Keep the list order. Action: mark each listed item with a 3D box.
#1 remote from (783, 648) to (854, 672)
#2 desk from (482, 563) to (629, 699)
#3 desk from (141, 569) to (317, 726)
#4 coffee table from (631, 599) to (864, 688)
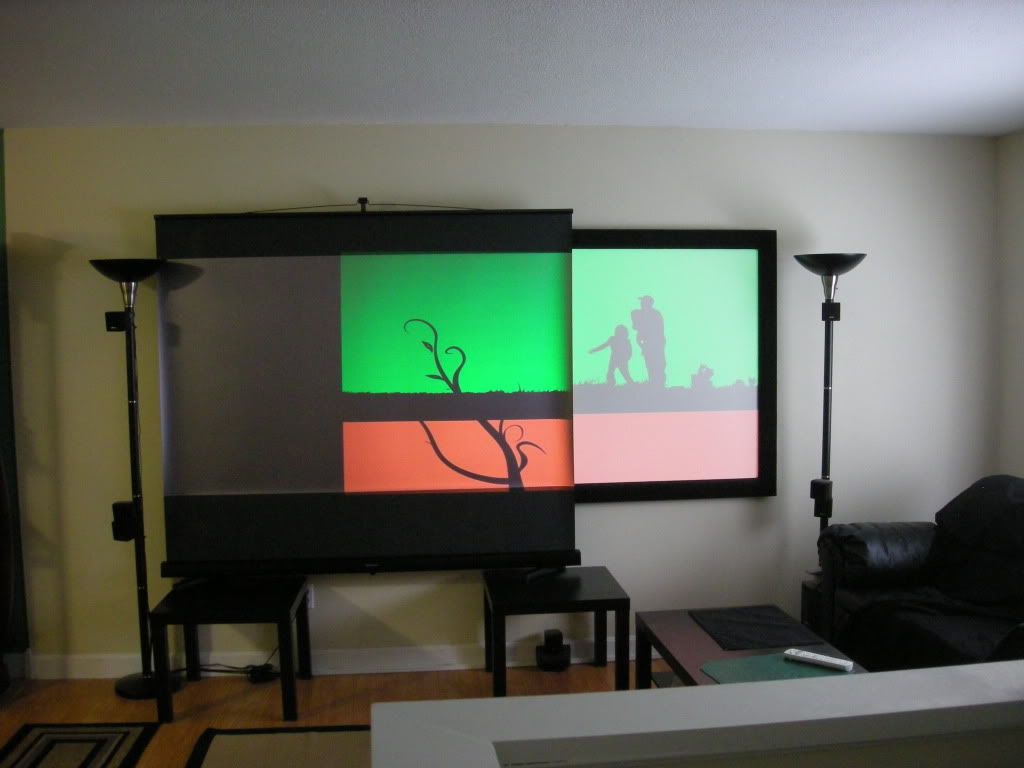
[{"bbox_3d":[1.346,1.209,4.156,0.214,0.049,0.122,6,-3,7],"label":"remote"},{"bbox_3d":[0.205,1.239,4.899,0.714,0.579,0.706,1,-5,-1],"label":"desk"},{"bbox_3d":[-1.378,1.200,4.718,0.658,0.536,0.684,0,6,2],"label":"desk"},{"bbox_3d":[1.040,1.214,4.490,0.720,0.255,0.665,2,-5,-18],"label":"coffee table"}]
